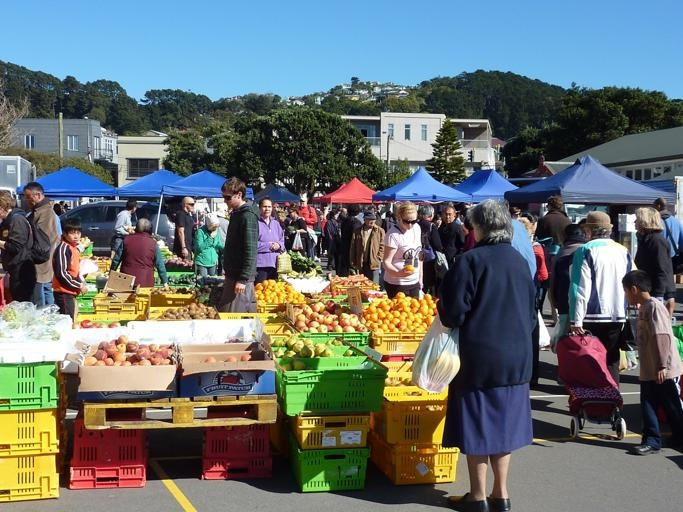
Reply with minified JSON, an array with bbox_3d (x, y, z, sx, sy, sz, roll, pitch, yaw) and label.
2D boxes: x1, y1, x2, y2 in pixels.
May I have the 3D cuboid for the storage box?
[{"bbox_3d":[-1.460,1.045,7.263,1.604,0.492,1.247,0,4,-12],"label":"storage box"}]

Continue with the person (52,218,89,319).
[{"bbox_3d":[-3.274,0.152,9.858,0.489,1.504,0.549,-1,6,-21],"label":"person"}]

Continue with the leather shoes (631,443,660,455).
[{"bbox_3d":[3.024,1.896,8.172,0.241,0.110,0.115,0,-4,-10],"label":"leather shoes"}]

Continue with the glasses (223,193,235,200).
[{"bbox_3d":[-1.235,-0.667,9.159,0.087,0.097,0.029,6,45,27],"label":"glasses"}]

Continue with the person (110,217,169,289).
[{"bbox_3d":[-2.737,0.024,11.155,0.624,1.099,0.647,2,7,-6],"label":"person"}]

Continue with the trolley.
[{"bbox_3d":[2.938,1.310,8.643,0.668,1.249,0.986,0,-9,1],"label":"trolley"}]
